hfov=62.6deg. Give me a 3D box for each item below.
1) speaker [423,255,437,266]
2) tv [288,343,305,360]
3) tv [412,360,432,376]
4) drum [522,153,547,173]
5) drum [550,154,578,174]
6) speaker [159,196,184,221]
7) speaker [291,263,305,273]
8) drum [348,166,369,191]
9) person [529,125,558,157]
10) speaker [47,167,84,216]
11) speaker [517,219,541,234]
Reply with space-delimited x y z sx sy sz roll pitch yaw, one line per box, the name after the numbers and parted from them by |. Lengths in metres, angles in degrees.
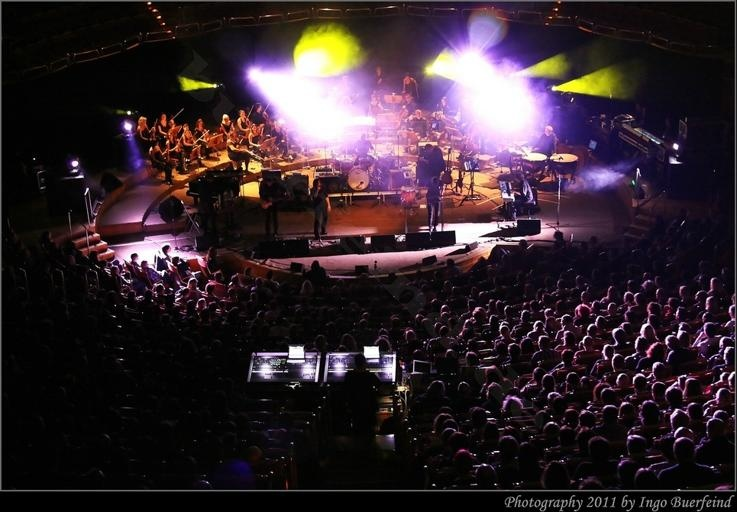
1.701 0.137 17.245 0.419 0.213 0.276 -10 17 -21 | speaker
-1.413 1.871 11.746 0.294 0.260 0.068 4 -8 5 | tv
0.981 2.099 11.435 0.447 0.291 0.237 -1 -1 10 | tv
5.521 -3.077 20.360 0.778 0.828 0.788 1 30 5 | drum
6.631 -3.074 20.690 0.967 0.626 0.926 -3 24 1 | drum
-5.966 -1.461 18.886 0.807 0.731 0.806 -5 13 10 | speaker
-1.985 0.327 16.654 0.333 0.252 0.482 5 -4 -37 | speaker
-0.387 -2.593 20.386 0.708 0.569 0.835 -2 -30 2 | drum
6.159 -3.929 21.272 0.954 1.280 0.528 12 10 14 | person
-9.129 -1.888 18.348 1.009 0.969 0.872 8 -32 -13 | speaker
4.610 -0.831 17.602 0.522 0.344 0.511 1 13 7 | speaker
